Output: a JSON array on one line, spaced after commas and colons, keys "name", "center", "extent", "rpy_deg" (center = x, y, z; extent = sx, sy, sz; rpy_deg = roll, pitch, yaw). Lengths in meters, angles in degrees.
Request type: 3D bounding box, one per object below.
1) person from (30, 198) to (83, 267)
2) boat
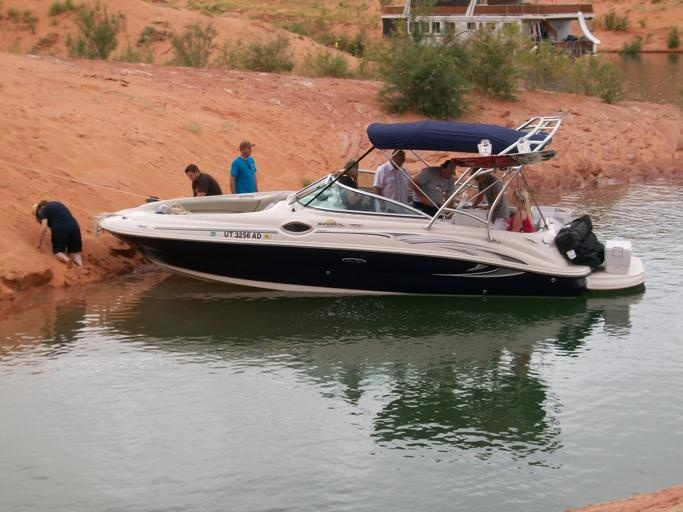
[{"name": "person", "center": [-5.320, -0.406, 16.654], "extent": [0.686, 1.254, 0.486], "rpy_deg": [3, 24, 16]}, {"name": "boat", "center": [2.394, -0.781, 16.913], "extent": [13.712, 2.540, 3.214], "rpy_deg": [0, 12, 0]}]
